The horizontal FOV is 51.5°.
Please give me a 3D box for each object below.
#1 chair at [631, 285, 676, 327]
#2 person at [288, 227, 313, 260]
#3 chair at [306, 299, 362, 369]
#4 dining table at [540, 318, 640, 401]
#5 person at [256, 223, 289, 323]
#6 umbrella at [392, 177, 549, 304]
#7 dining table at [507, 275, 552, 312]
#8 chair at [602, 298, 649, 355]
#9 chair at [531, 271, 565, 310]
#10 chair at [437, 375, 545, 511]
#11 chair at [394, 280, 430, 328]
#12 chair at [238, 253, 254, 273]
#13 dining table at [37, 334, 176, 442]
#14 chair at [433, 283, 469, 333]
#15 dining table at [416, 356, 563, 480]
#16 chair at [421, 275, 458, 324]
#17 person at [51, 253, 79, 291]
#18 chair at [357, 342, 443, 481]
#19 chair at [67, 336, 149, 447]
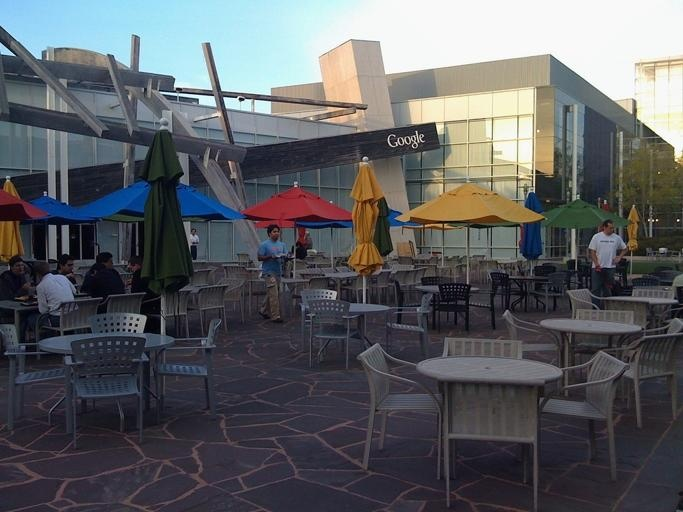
[{"bbox_3d":[5.966,1.016,13.394,0.880,0.801,0.657,4,8,44],"label":"chair"},{"bbox_3d":[-1.333,-0.361,23.932,0.624,1.428,0.687,0,6,-31],"label":"person"},{"bbox_3d":[-0.153,1.227,12.044,1.110,1.404,1.086,1,4,12],"label":"chair"},{"bbox_3d":[3.437,1.352,9.653,1.107,0.659,1.131,-2,0,39],"label":"dining table"},{"bbox_3d":[-1.532,0.410,15.649,0.604,2.196,1.320,0,8,-6],"label":"person"},{"bbox_3d":[2.561,-0.403,14.619,2.443,2.183,3.081,1,7,1],"label":"umbrella"},{"bbox_3d":[5.029,1.098,18.739,1.242,0.557,1.204,0,0,13],"label":"dining table"},{"bbox_3d":[4.724,1.141,11.455,0.928,0.823,0.880,-1,4,0],"label":"chair"},{"bbox_3d":[5.520,0.922,18.793,0.985,1.250,0.999,1,-2,-18],"label":"chair"},{"bbox_3d":[1.607,1.807,7.703,1.182,1.339,1.491,-1,-2,15],"label":"chair"},{"bbox_3d":[1.360,1.023,14.735,1.020,1.206,0.929,-1,5,5],"label":"chair"},{"bbox_3d":[-3.023,0.240,22.191,0.676,0.757,0.631,0,-4,-16],"label":"chair"},{"bbox_3d":[-2.700,1.522,8.193,0.719,1.043,0.812,-14,-7,11],"label":"dining table"},{"bbox_3d":[2.292,1.032,14.412,0.980,1.247,0.966,1,4,10],"label":"chair"},{"bbox_3d":[1.626,1.599,7.531,1.339,0.820,1.202,-1,-4,14],"label":"dining table"},{"bbox_3d":[2.269,0.760,16.302,0.661,0.906,0.662,1,-3,-16],"label":"chair"},{"bbox_3d":[-5.564,0.340,14.067,0.545,0.676,0.911,-5,1,1],"label":"person"},{"bbox_3d":[0.656,1.682,8.524,1.360,1.638,1.420,0,3,6],"label":"chair"},{"bbox_3d":[-2.846,1.554,8.455,1.036,1.255,0.735,0,8,-2],"label":"chair"}]
